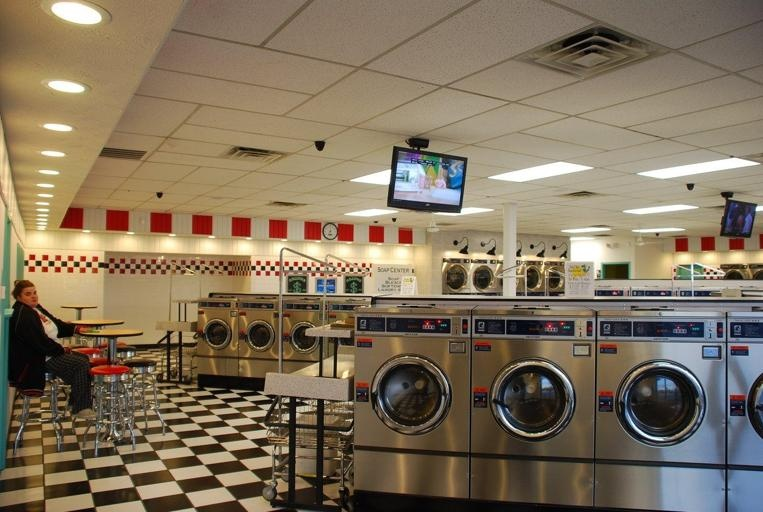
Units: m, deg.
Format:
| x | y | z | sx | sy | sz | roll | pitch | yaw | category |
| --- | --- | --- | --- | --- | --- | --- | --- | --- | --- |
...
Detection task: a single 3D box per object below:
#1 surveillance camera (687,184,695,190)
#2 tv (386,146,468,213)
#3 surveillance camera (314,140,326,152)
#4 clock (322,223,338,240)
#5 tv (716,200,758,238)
| x | y | z | sx | sy | sz | roll | pitch | yaw | category |
| --- | --- | --- | --- | --- | --- | --- | --- | --- | --- |
| 5.025 | -1.143 | 8.803 | 0.124 | 0.094 | 0.130 | 5 | 5 | -19 | surveillance camera |
| 0.557 | -0.942 | 6.482 | 0.916 | 0.588 | 0.115 | 6 | 4 | -24 | tv |
| -0.763 | -1.396 | 6.738 | 0.095 | 0.073 | 0.099 | 0 | -10 | 5 | surveillance camera |
| -1.304 | -0.652 | 13.526 | 0.055 | 0.321 | 0.324 | -5 | -48 | 53 | clock |
| 6.279 | -0.699 | 9.568 | 0.754 | 0.554 | 0.252 | 7 | -1 | -28 | tv |
